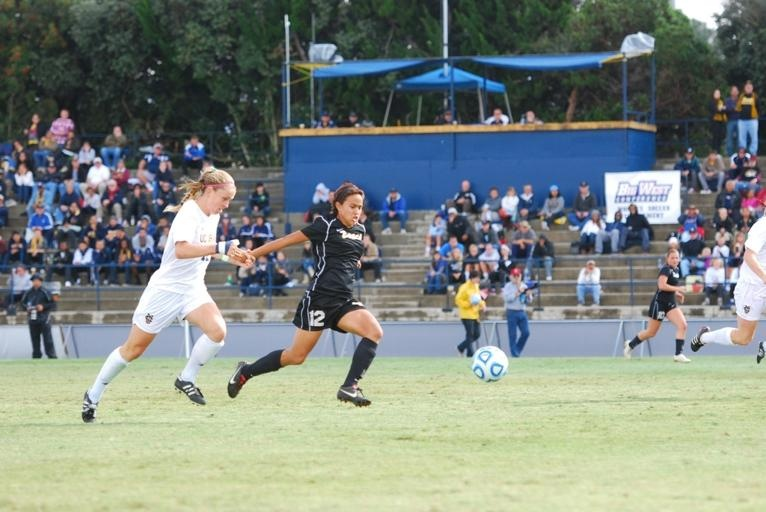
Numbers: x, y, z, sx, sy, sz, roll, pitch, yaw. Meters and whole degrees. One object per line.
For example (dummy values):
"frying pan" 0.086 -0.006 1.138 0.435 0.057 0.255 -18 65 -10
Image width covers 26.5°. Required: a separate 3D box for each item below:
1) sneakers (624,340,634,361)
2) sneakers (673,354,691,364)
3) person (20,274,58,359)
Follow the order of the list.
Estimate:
"sneakers" 6.746 2.609 44.344 0.215 0.553 0.246 0 6 6
"sneakers" 7.955 2.736 43.017 0.449 0.199 0.184 4 11 12
"person" -9.971 1.822 46.886 0.919 2.295 0.757 0 2 -14
